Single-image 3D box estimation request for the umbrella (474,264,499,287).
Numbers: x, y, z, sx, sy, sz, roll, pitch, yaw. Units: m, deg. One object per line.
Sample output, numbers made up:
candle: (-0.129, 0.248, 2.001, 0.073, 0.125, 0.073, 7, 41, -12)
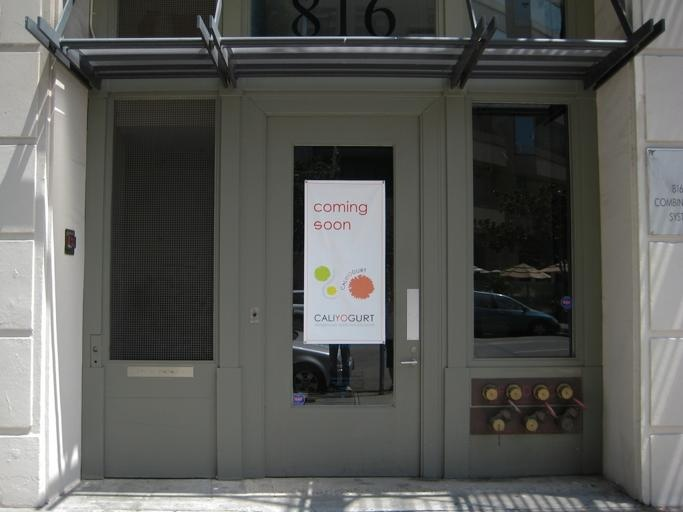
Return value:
umbrella: (1.386, 0.192, 7.078, 0.182, 0.202, 0.072, -17, 4, -3)
